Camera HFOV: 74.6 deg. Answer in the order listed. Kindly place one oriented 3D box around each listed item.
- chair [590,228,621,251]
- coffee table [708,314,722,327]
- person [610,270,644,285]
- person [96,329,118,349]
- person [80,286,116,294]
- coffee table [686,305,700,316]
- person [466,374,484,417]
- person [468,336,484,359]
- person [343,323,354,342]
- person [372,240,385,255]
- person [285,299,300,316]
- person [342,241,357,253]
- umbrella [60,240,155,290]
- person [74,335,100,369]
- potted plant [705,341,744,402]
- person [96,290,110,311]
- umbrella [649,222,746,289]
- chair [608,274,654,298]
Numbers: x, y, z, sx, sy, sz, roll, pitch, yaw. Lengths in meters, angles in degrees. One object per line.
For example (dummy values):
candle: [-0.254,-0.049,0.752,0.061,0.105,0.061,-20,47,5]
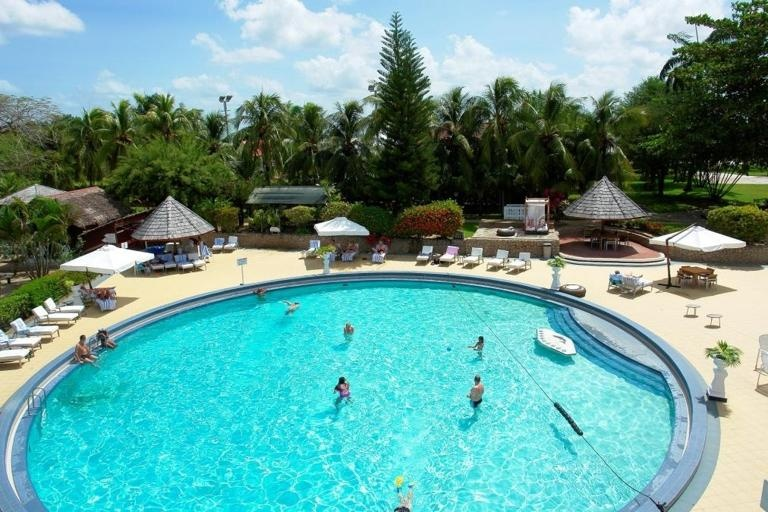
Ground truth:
chair: [12.611,-0.950,28.926,1.530,0.986,1.773,-1,13,20]
coffee table: [12.712,2.432,19.434,0.531,0.398,0.557,4,14,20]
person: [10.820,0.883,23.043,0.932,0.447,0.952,12,21,41]
person: [-10.774,3.232,19.720,0.485,0.943,0.451,1,23,12]
person: [-12.723,1.472,22.587,0.827,0.210,0.825,4,4,-4]
coffee table: [12.358,2.168,20.351,0.520,0.350,0.512,-2,13,-1]
person: [3.062,4.397,16.760,0.557,1.124,1.167,-3,13,11]
person: [3.496,3.483,19.169,0.614,1.036,0.340,2,32,6]
person: [-1.378,2.954,20.337,0.461,0.566,0.979,-6,13,-3]
person: [-0.171,-0.491,28.664,0.559,0.475,0.889,-2,7,7]
person: [-4.078,2.170,22.642,0.634,0.465,1.148,-8,13,-9]
person: [-2.161,-0.497,29.277,0.638,0.782,1.377,-1,4,6]
umbrella: [-12.050,0.203,21.796,2.041,0.728,2.225,7,22,15]
person: [-10.870,3.447,18.426,0.748,1.207,0.575,-11,13,-22]
potted plant: [10.510,3.417,15.801,0.908,1.728,1.356,0,14,24]
person: [-12.105,1.938,21.944,0.604,0.963,0.517,-10,-4,-5]
umbrella: [14.112,-0.773,22.922,2.974,3.036,3.826,-17,19,-38]
chair: [11.168,1.177,22.762,1.184,0.726,1.255,-13,18,-33]
